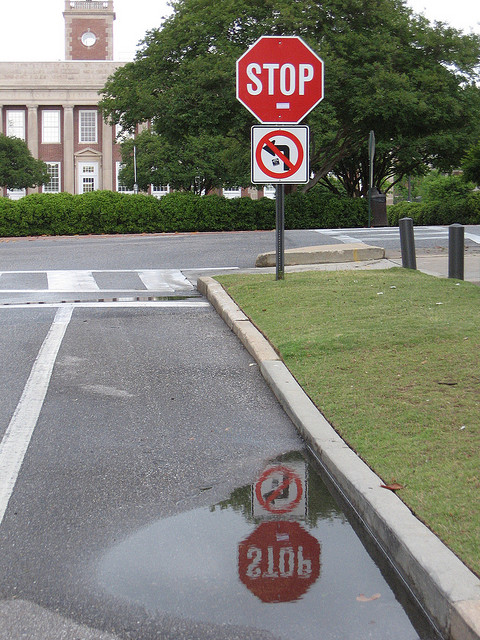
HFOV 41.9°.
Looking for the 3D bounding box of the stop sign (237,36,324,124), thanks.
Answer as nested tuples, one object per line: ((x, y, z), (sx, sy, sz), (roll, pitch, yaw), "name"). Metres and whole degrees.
((0.691, -3.986, 10.347), (1.534, 1.337, 0.189), (9, 27, 22), "stop sign")
